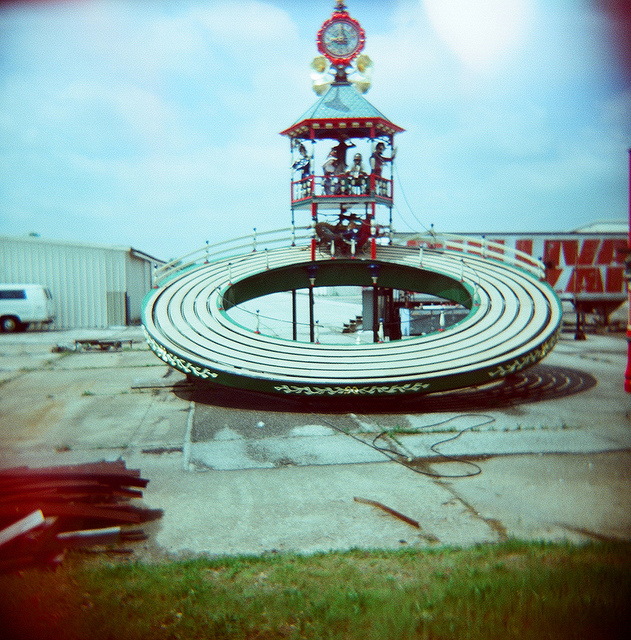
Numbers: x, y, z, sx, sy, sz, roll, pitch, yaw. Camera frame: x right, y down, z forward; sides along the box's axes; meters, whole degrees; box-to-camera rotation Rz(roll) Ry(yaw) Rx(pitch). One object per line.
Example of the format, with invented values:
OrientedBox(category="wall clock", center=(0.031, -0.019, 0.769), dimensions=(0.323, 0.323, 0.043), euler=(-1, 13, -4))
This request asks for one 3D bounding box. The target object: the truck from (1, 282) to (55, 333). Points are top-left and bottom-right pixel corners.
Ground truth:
OrientedBox(category="truck", center=(-12.070, -0.604, 34.511), dimensions=(2.662, 1.232, 1.436), euler=(3, 4, -8))
